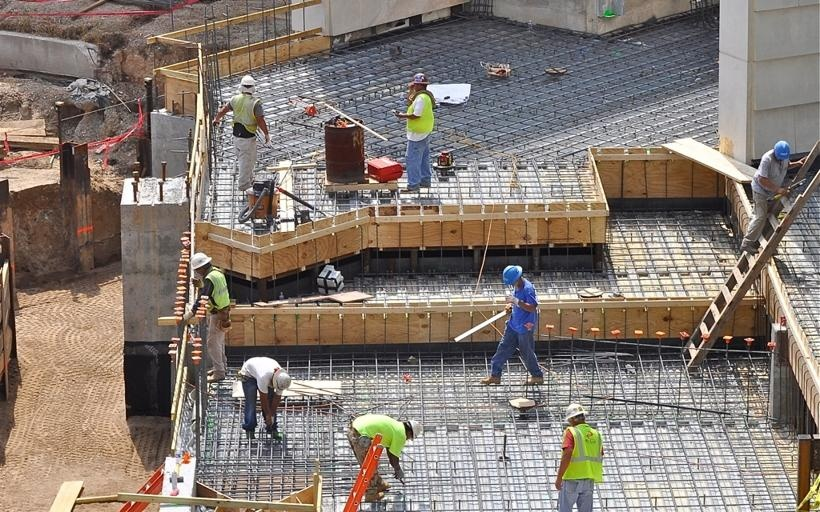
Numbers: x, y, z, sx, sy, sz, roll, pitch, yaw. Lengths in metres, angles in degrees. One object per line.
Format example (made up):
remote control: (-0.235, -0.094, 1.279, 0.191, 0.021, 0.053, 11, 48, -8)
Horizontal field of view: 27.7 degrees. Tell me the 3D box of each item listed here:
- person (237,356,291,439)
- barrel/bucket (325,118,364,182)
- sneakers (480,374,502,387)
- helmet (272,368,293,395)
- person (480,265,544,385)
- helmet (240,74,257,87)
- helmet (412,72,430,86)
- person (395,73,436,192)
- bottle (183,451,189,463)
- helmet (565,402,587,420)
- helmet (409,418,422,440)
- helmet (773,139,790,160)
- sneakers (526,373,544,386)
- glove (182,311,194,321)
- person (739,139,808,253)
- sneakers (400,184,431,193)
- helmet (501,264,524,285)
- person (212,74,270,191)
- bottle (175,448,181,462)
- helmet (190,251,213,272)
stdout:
person: (-2.822, 2.668, 32.017, 0.938, 1.538, 1.156, 0, -3, -8)
barrel/bucket: (-1.401, -2.267, 35.498, 0.841, 1.410, 0.626, 0, -3, -1)
sneakers: (1.551, 2.418, 33.274, 0.537, 0.196, 0.168, 7, 25, 22)
helmet: (-2.456, 2.328, 31.690, 0.327, 0.474, 0.369, 0, -3, -6)
person: (2.103, 1.332, 32.767, 1.101, 2.295, 1.191, 0, -3, -8)
helmet: (-3.432, -3.680, 35.014, 0.237, 0.294, 0.665, 0, -2, -1)
helmet: (0.370, -3.719, 34.937, 0.586, 0.232, 0.532, 1, 13, -12)
person: (0.145, -2.614, 35.314, 0.713, 2.333, 1.313, 0, -3, 0)
bottle: (-4.153, 3.662, 30.805, 0.124, 0.214, 0.417, 0, -2, -9)
helmet: (3.088, 2.759, 30.408, 0.322, 0.169, 0.362, -6, 11, 40)
helmet: (0.133, 3.168, 30.652, 0.268, 0.396, 0.306, -18, 3, 2)
helmet: (7.577, -2.159, 33.818, 0.291, 0.409, 0.590, -1, -3, 15)
sneakers: (2.458, 2.400, 33.280, 0.466, 0.180, 0.159, 12, 19, 42)
glove: (-4.240, 1.091, 31.652, 0.165, 0.138, 0.172, -10, -12, -23)
person: (7.356, -1.208, 33.960, 0.626, 2.176, 1.077, 1, -3, -23)
sneakers: (0.109, -1.476, 35.825, 0.711, 0.233, 0.217, -1, 18, -3)
helmet: (2.048, 0.347, 32.354, 0.362, 0.379, 0.179, 26, 2, 43)
person: (-3.528, -2.574, 35.083, 1.051, 2.411, 1.061, 0, -3, -6)
bottle: (-4.301, 3.638, 30.907, 0.118, 0.197, 0.432, 0, -2, -8)
helmet: (-4.158, 0.083, 32.538, 0.413, 0.175, 0.365, -25, 20, 2)
